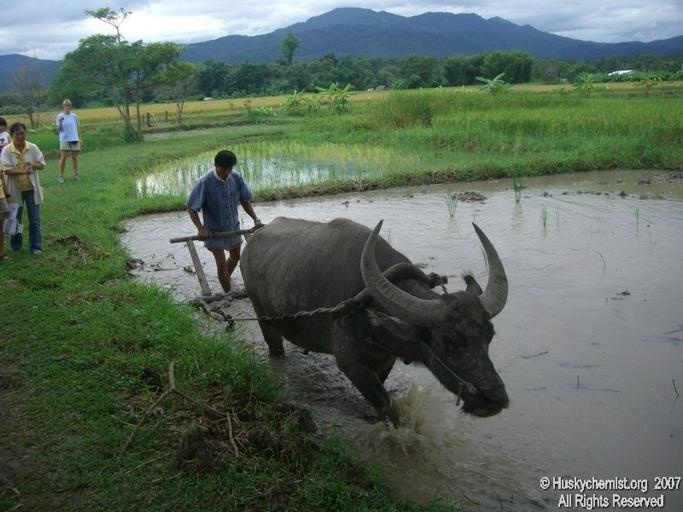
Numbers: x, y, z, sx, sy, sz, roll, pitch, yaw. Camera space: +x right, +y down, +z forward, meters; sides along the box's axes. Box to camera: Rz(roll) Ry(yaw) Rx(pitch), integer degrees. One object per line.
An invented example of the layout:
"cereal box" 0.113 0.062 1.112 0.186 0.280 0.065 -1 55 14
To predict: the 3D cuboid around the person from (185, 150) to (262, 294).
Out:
"person" -1.539 -0.374 7.775 0.862 2.102 0.653 -11 27 -25
